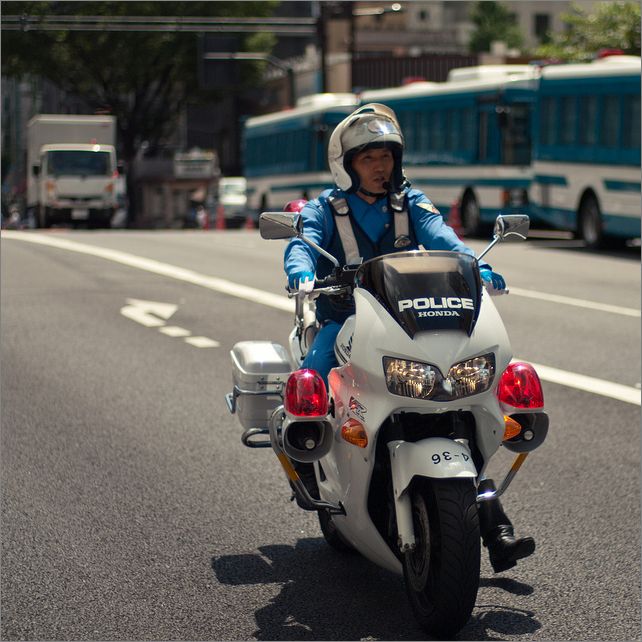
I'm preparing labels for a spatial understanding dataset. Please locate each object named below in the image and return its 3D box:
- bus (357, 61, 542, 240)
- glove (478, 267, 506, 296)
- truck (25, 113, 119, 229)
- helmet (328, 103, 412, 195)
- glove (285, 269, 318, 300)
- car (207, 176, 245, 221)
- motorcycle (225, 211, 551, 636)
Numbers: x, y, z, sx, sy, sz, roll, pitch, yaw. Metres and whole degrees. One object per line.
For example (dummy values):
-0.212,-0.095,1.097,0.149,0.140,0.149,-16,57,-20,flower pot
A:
5.182,-5.661,30.826,3.044,5.236,10.760,-21,0,13,bus
0.650,-0.155,3.906,0.085,0.046,0.115,35,6,-16,glove
-8.884,-5.454,36.737,3.018,4.099,3.039,-2,8,-14,truck
0.177,-0.771,4.507,0.288,0.404,0.388,-8,16,-29,helmet
-0.071,-0.144,3.949,0.121,0.083,0.178,-1,3,3,glove
-4.181,-5.376,45.143,1.490,1.638,2.847,-1,13,-8,car
0.154,0.341,4.127,0.794,1.102,1.806,0,0,-10,motorcycle
